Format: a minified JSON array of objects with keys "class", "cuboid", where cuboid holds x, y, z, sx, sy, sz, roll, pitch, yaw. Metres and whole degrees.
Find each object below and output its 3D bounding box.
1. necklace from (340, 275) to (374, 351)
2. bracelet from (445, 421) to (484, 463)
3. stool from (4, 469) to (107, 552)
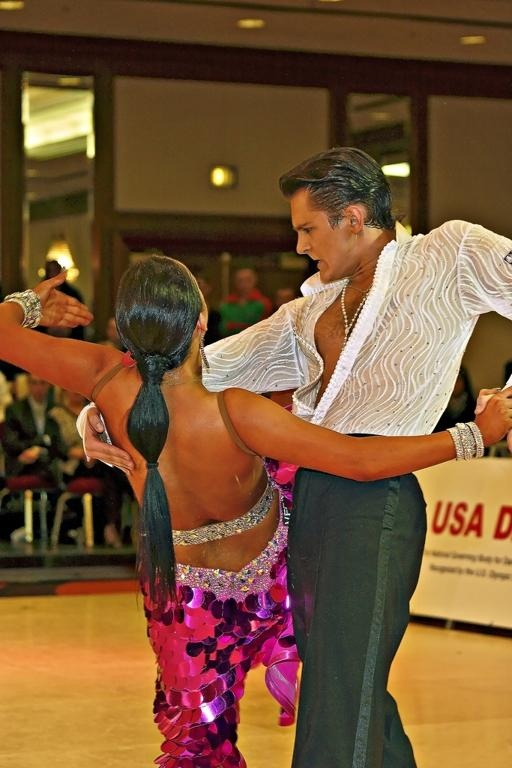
[{"class":"necklace","cuboid":[0.204,-0.146,1.657,0.023,0.098,0.076,7,-22,-12]},{"class":"bracelet","cuboid":[0.372,0.100,1.457,0.038,0.053,0.072,-9,11,15]},{"class":"stool","cuboid":[-1.611,0.968,6.509,0.927,0.481,0.572,0,-16,-5]}]
